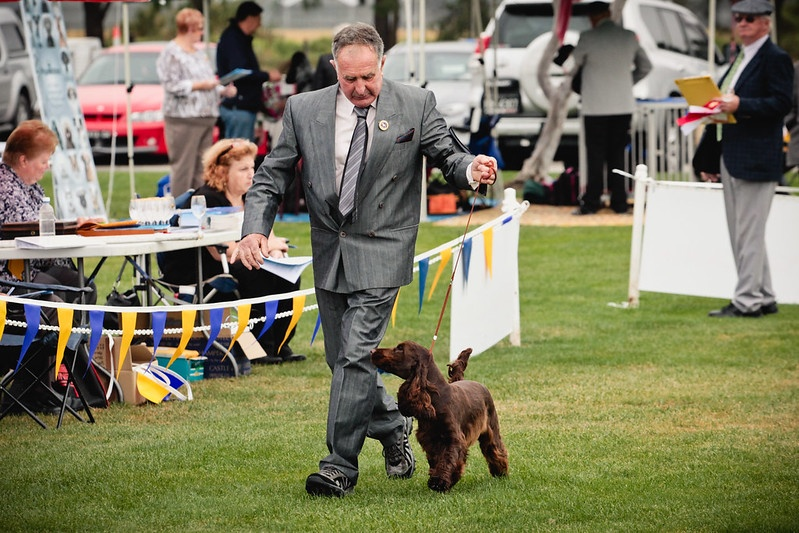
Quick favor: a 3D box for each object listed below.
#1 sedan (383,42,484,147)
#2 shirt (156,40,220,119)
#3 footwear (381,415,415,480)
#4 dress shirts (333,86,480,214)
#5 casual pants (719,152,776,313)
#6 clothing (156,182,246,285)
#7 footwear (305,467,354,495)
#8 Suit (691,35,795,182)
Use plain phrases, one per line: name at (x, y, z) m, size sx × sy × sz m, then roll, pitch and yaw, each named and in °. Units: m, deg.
sedan at (0.482, -2.498, 24.253) m, size 0.987 × 1.013 × 1.943 m, roll 0°, pitch 8°, yaw 5°
shirt at (-2.327, -2.103, 19.700) m, size 0.537 × 0.883 × 0.886 m, roll 1°, pitch 4°, yaw 35°
footwear at (-0.006, 1.456, 14.284) m, size 0.176 × 0.610 × 0.264 m, roll 0°, pitch 3°, yaw 25°
dress shirts at (0.158, -0.999, 14.103) m, size 0.719 × 0.900 × 1.206 m, roll -8°, pitch -8°, yaw 40°
casual pants at (3.180, -0.273, 16.057) m, size 0.515 × 1.307 × 0.317 m, roll 2°, pitch 6°, yaw 11°
clothing at (-1.959, -0.430, 16.438) m, size 0.980 × 1.117 × 0.745 m, roll 1°, pitch 3°, yaw 36°
footwear at (-0.568, 1.694, 13.973) m, size 0.351 × 0.196 × 0.178 m, roll 8°, pitch -7°, yaw -2°
Suit at (3.111, -1.466, 16.868) m, size 0.997 × 2.002 × 1.156 m, roll 0°, pitch 3°, yaw 2°
